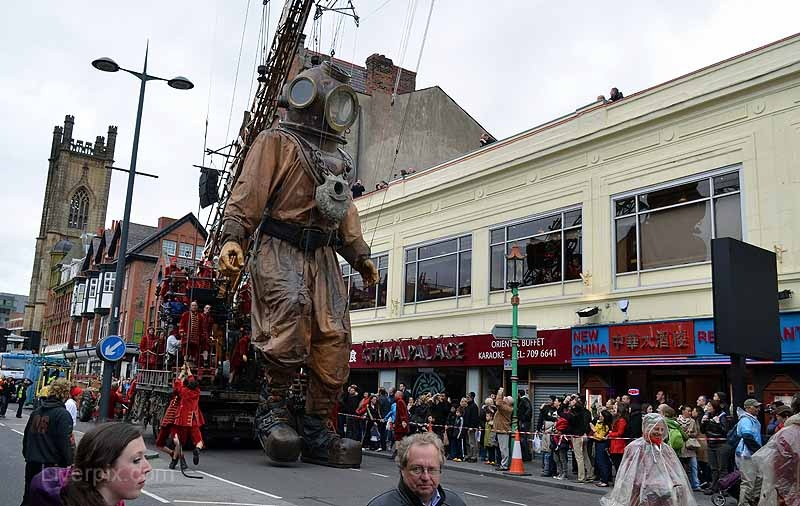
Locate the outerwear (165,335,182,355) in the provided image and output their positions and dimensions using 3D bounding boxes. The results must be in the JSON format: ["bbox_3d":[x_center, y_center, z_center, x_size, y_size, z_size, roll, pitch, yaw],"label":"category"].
[{"bbox_3d":[-7.378,2.964,21.857,0.355,0.609,0.645,7,-14,-25],"label":"outerwear"}]

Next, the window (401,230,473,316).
[{"bbox_3d":[1.687,0.880,28.236,0.086,2.066,3.467,15,-17,-34],"label":"window"}]

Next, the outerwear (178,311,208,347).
[{"bbox_3d":[-6.571,2.443,21.449,0.883,1.237,0.653,7,-19,-35],"label":"outerwear"}]

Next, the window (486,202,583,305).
[{"bbox_3d":[4.911,-0.013,24.424,5.222,3.262,0.123,-9,12,-31],"label":"window"}]

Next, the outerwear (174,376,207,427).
[{"bbox_3d":[-5.218,3.663,16.605,0.683,1.253,0.787,0,-12,5],"label":"outerwear"}]

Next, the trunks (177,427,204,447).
[{"bbox_3d":[-5.162,4.510,16.527,0.617,0.506,0.912,2,-13,-4],"label":"trunks"}]

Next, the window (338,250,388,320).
[{"bbox_3d":[-1.818,2.155,32.694,0.202,3.651,4.943,3,-8,-34],"label":"window"}]

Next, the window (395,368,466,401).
[{"bbox_3d":[1.610,5.430,27.815,1.386,1.843,2.645,18,-24,-35],"label":"window"}]

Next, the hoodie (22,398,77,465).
[{"bbox_3d":[-5.632,2.912,10.762,1.150,1.074,0.479,2,-9,18],"label":"hoodie"}]

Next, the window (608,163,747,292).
[{"bbox_3d":[8.601,-0.763,20.473,0.215,2.794,3.883,9,-13,-42],"label":"window"}]

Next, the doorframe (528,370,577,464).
[{"bbox_3d":[5.617,5.830,23.885,1.822,3.462,0.141,-1,12,16],"label":"doorframe"}]
